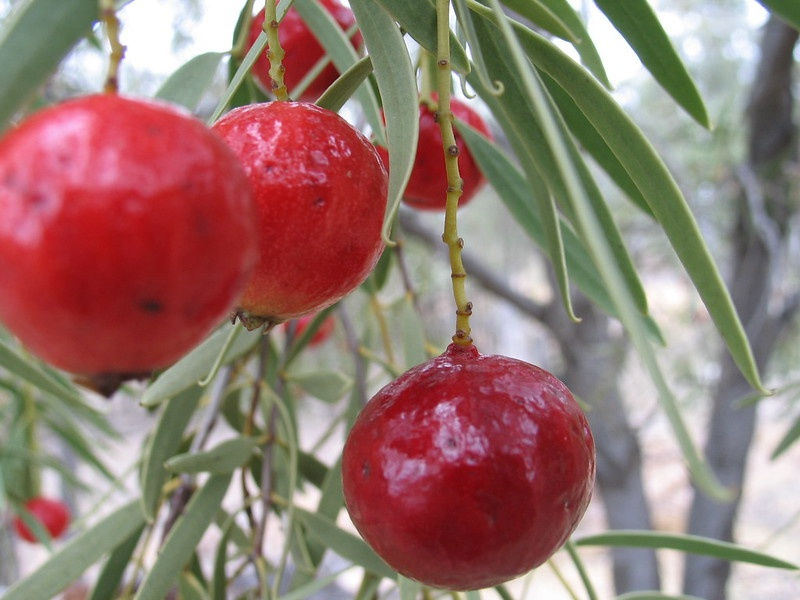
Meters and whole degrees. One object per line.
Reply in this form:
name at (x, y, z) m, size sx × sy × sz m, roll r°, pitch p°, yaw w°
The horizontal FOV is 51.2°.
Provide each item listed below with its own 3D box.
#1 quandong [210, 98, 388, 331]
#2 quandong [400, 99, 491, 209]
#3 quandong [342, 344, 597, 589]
quandong at (-0.072, -0.059, 0.539) m, size 0.120 × 0.161 × 0.125 m, roll 9°, pitch 11°, yaw 38°
quandong at (0.045, -0.129, 0.782) m, size 0.072 × 0.078 × 0.098 m, roll 14°, pitch 71°, yaw -14°
quandong at (0.038, 0.102, 0.560) m, size 0.123 × 0.139 × 0.149 m, roll -7°, pitch 93°, yaw -1°
